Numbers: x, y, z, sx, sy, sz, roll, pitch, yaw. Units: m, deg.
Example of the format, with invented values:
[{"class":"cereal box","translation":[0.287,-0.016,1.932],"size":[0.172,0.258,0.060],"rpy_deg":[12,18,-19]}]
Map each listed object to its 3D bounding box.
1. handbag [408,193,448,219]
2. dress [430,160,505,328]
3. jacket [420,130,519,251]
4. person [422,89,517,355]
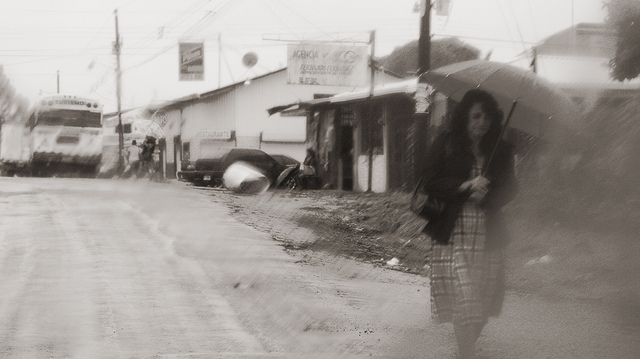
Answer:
[{"class":"handbag","translation":[0.979,0.185,7.505],"size":[0.290,0.220,0.106],"rpy_deg":[-27,8,-28]},{"class":"dress","translation":[1.383,0.523,7.678],"size":[0.686,1.611,0.543],"rpy_deg":[-4,-1,-41]},{"class":"jacket","translation":[1.403,-0.061,7.652],"size":[0.837,1.304,0.549],"rpy_deg":[3,1,21]},{"class":"person","translation":[1.303,0.378,7.532],"size":[0.819,2.351,0.428],"rpy_deg":[6,-3,6]}]
